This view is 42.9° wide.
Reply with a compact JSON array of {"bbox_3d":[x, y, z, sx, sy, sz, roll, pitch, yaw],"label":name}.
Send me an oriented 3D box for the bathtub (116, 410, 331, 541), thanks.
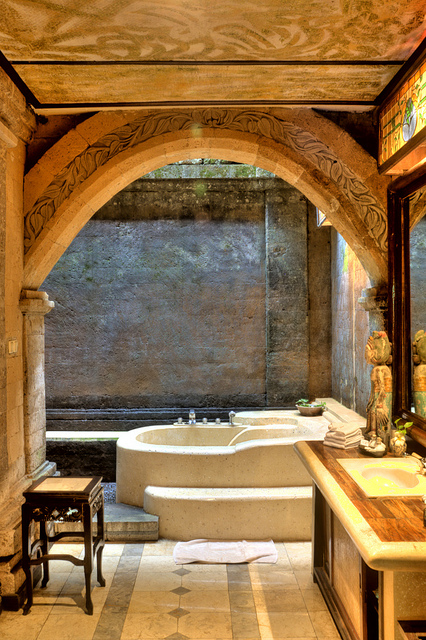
[{"bbox_3d":[0.016,1.163,3.826,1.195,0.394,1.167,1,2,0],"label":"bathtub"}]
